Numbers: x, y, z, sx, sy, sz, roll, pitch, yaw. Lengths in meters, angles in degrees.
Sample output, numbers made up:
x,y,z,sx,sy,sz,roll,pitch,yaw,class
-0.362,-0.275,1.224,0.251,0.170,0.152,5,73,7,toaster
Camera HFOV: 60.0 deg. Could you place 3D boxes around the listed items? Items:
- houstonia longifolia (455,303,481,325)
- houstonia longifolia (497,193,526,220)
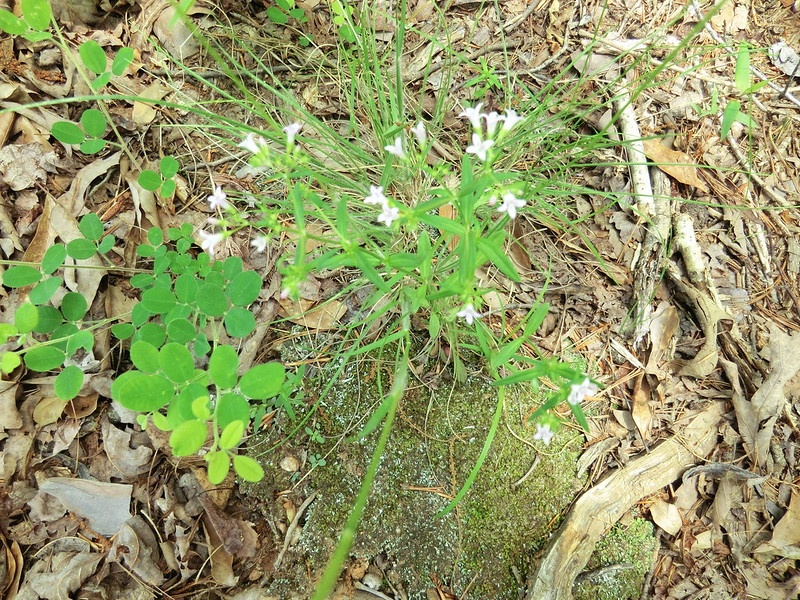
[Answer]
x,y,z,sx,sy,sz,roll,pitch,yaw,class
0.320,0.075,3.281,0.101,0.052,0.112,-16,71,-24,houstonia longifolia
0.551,-0.466,3.417,0.122,0.033,0.172,-3,67,-2,houstonia longifolia
